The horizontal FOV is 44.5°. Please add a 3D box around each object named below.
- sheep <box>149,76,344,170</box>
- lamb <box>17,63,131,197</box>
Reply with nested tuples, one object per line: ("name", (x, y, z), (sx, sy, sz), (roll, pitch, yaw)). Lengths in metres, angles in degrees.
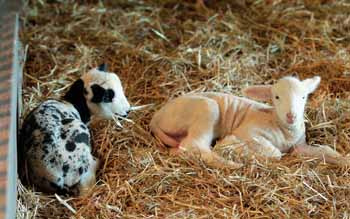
("sheep", (0.641, 0.142, 4.457), (1.673, 0.675, 0.950), (2, 9, 9))
("lamb", (-1.014, 0.265, 4.324), (0.818, 0.780, 1.053), (-16, 29, 45))
